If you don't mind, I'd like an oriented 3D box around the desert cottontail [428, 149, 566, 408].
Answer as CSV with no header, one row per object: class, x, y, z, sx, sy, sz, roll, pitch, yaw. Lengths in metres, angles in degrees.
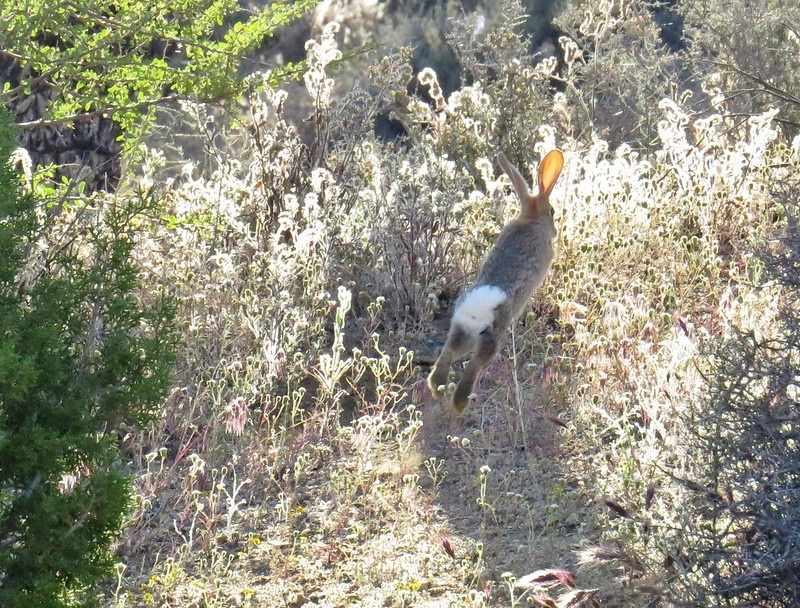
desert cottontail,0.552,-0.092,6.237,0.354,1.025,1.337,20,58,18
